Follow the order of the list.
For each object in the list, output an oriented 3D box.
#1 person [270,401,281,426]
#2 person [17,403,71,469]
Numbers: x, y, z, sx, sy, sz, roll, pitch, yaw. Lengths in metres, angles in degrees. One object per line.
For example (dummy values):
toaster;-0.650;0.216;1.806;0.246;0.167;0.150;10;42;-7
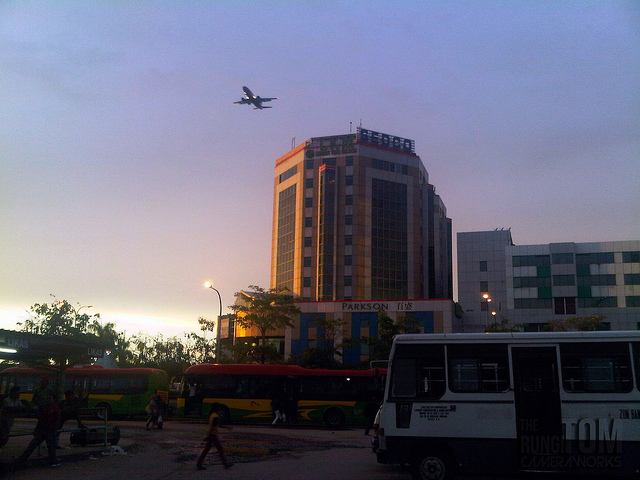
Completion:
person;-2.490;9.662;36.434;0.514;1.258;0.637;6;-15;-16
person;-8.449;5.787;19.775;1.245;2.267;0.805;8;4;-19
